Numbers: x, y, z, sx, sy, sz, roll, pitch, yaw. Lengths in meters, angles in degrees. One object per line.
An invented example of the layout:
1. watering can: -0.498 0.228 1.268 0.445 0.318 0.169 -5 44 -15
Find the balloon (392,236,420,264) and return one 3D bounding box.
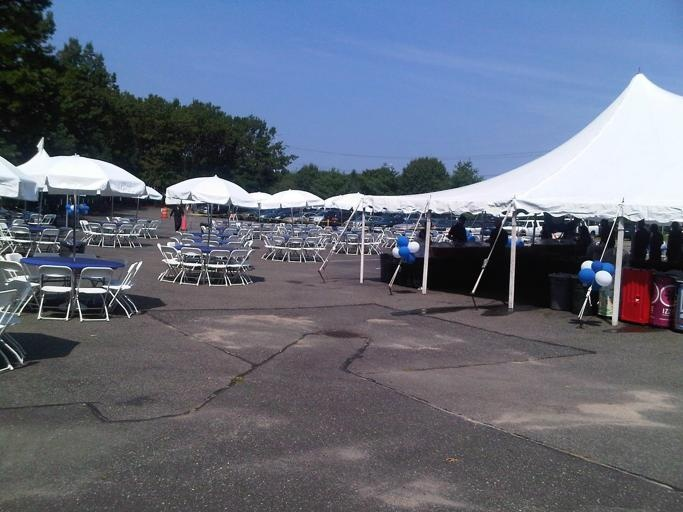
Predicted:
1. balloon: 1.771 -0.176 15.968 0.724 0.756 0.495 -28 -26 -1

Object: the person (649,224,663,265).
1. person: 9.205 -0.328 16.625 0.363 1.207 0.946 6 7 29

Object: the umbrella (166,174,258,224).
1. umbrella: -4.481 -2.260 20.072 1.938 0.953 1.958 4 9 11

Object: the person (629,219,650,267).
1. person: 8.832 -0.413 16.760 0.472 1.314 1.814 5 7 27

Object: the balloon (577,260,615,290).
1. balloon: 5.310 0.390 11.732 0.564 0.436 0.619 6 -7 38
